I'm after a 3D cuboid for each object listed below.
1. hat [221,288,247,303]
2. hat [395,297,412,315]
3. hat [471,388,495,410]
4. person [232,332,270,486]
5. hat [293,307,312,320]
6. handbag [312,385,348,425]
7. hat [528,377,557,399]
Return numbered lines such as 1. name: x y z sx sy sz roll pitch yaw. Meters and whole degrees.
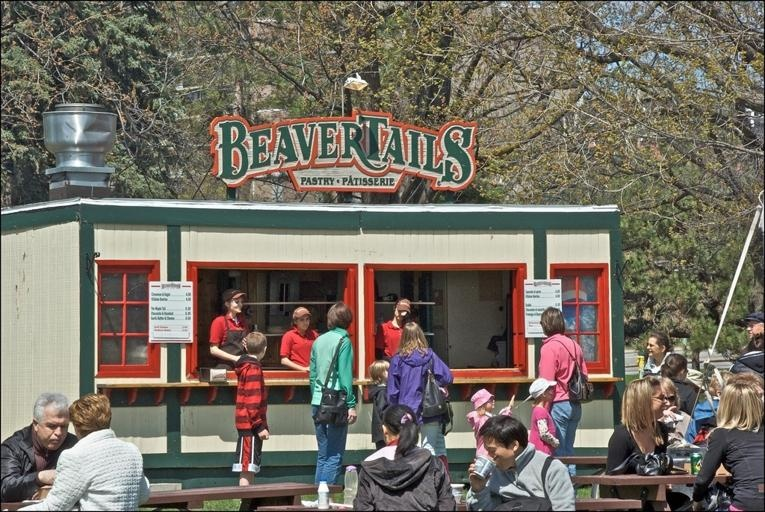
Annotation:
1. hat: -2.831 0.745 32.491 0.359 0.186 0.259 -5 -6 27
2. hat: 0.416 0.966 33.200 0.221 0.294 0.287 9 -7 -30
3. hat: 1.825 2.603 31.852 0.320 0.214 0.394 -42 -10 10
4. person: -2.395 2.783 31.808 0.638 2.780 0.982 0 -3 -4
5. hat: -1.555 1.090 32.930 0.221 0.184 0.343 2 -7 -19
6. handbag: -0.920 2.695 31.483 0.622 0.643 0.349 4 6 -2
7. hat: 2.835 2.351 31.391 0.455 0.240 0.297 -30 9 -11
